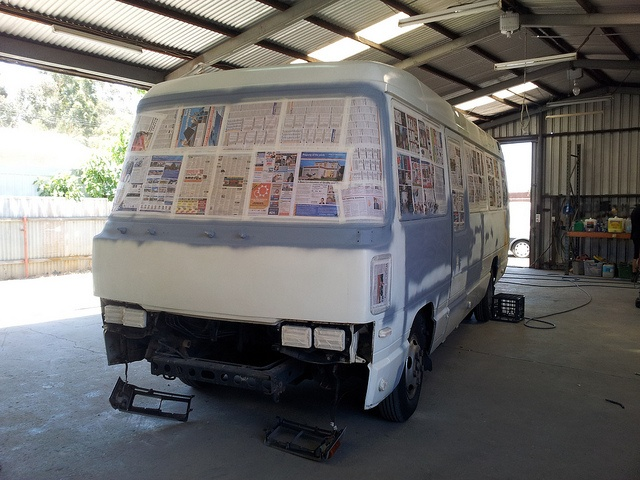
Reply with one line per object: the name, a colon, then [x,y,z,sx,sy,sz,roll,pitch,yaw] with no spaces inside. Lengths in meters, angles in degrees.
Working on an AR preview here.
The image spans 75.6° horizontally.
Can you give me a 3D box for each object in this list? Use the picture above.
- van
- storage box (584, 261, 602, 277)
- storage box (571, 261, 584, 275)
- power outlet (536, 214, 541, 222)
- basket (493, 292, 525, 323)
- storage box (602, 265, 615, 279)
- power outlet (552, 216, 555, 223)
van: [0.641,-0.195,6.360,3.273,3.220,6.748,3,5,29]
storage box: [8.710,0.945,13.189,0.450,0.440,0.246,3,4,27]
storage box: [8.392,0.929,13.443,0.446,0.411,0.316,7,-8,-33]
power outlet: [7.810,-0.747,14.785,0.153,0.291,0.078,1,1,19]
basket: [3.620,1.288,7.988,0.608,0.585,0.488,2,6,28]
storage box: [9.076,1.023,12.982,0.308,0.515,0.293,7,11,41]
power outlet: [8.235,-0.714,14.550,0.098,0.198,0.029,1,1,25]
